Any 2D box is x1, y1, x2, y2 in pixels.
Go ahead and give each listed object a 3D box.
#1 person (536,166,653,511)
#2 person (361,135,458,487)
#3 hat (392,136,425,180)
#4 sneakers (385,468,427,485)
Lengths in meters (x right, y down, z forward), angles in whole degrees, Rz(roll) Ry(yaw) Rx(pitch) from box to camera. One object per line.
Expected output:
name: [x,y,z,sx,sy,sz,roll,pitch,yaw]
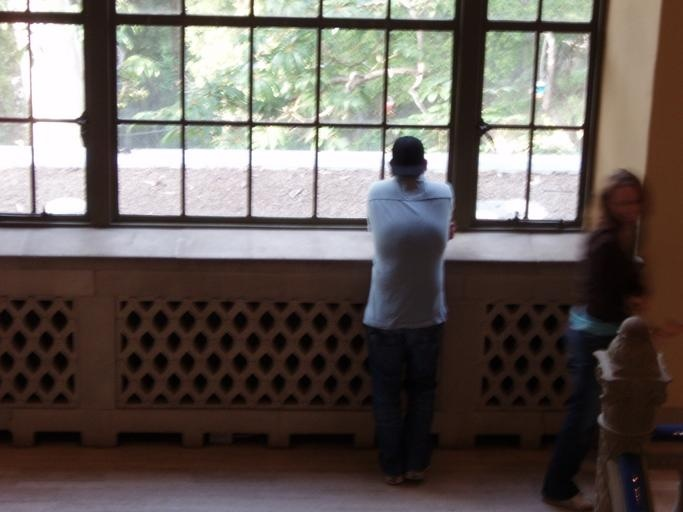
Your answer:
person: [1.400,0.525,4.423,0.439,1.992,0.230,3,13,8]
person: [0.381,0.344,4.781,0.491,2.092,0.351,2,13,8]
hat: [0.390,-0.577,4.663,0.174,0.114,0.243,2,53,4]
sneakers: [0.389,1.364,4.920,0.266,0.111,0.090,0,10,-7]
